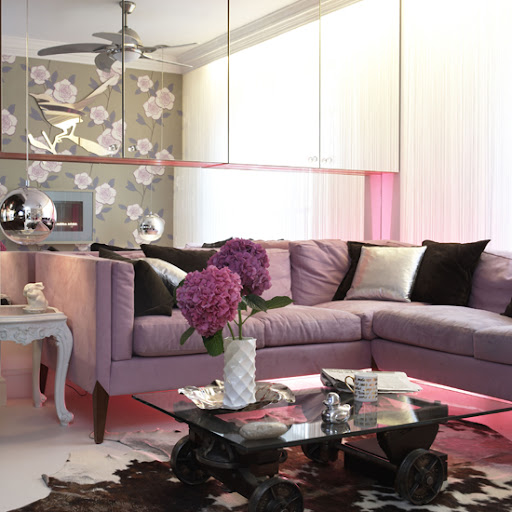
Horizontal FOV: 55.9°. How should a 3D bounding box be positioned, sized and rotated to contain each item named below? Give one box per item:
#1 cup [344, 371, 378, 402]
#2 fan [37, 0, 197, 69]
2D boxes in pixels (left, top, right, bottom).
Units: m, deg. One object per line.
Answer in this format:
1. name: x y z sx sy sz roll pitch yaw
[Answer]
1. cup: 0.345 0.417 1.566 0.116 0.072 0.067 0 0 11
2. fan: -0.994 -1.433 3.288 0.633 0.208 0.548 -5 -8 19
